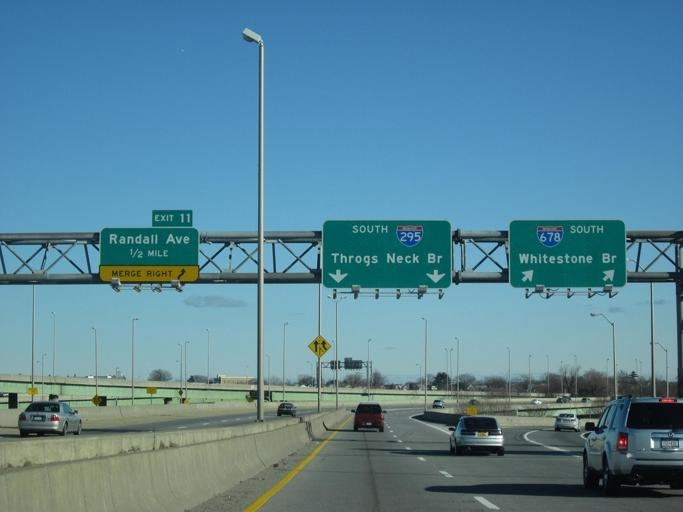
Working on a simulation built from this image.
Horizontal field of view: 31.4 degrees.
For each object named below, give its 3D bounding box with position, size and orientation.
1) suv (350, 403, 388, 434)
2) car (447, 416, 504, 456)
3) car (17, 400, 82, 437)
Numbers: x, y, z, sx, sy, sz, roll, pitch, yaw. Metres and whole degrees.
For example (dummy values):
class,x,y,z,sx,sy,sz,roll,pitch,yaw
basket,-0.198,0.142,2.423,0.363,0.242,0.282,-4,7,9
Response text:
class,x,y,z,sx,sy,sz,roll,pitch,yaw
suv,1.673,9.566,72.820,1.633,1.719,2.318,-1,-9,7
car,5.932,7.996,53.805,2.415,2.115,5.604,0,-4,2
car,-14.787,8.244,62.141,2.201,1.674,5.394,1,-7,1
